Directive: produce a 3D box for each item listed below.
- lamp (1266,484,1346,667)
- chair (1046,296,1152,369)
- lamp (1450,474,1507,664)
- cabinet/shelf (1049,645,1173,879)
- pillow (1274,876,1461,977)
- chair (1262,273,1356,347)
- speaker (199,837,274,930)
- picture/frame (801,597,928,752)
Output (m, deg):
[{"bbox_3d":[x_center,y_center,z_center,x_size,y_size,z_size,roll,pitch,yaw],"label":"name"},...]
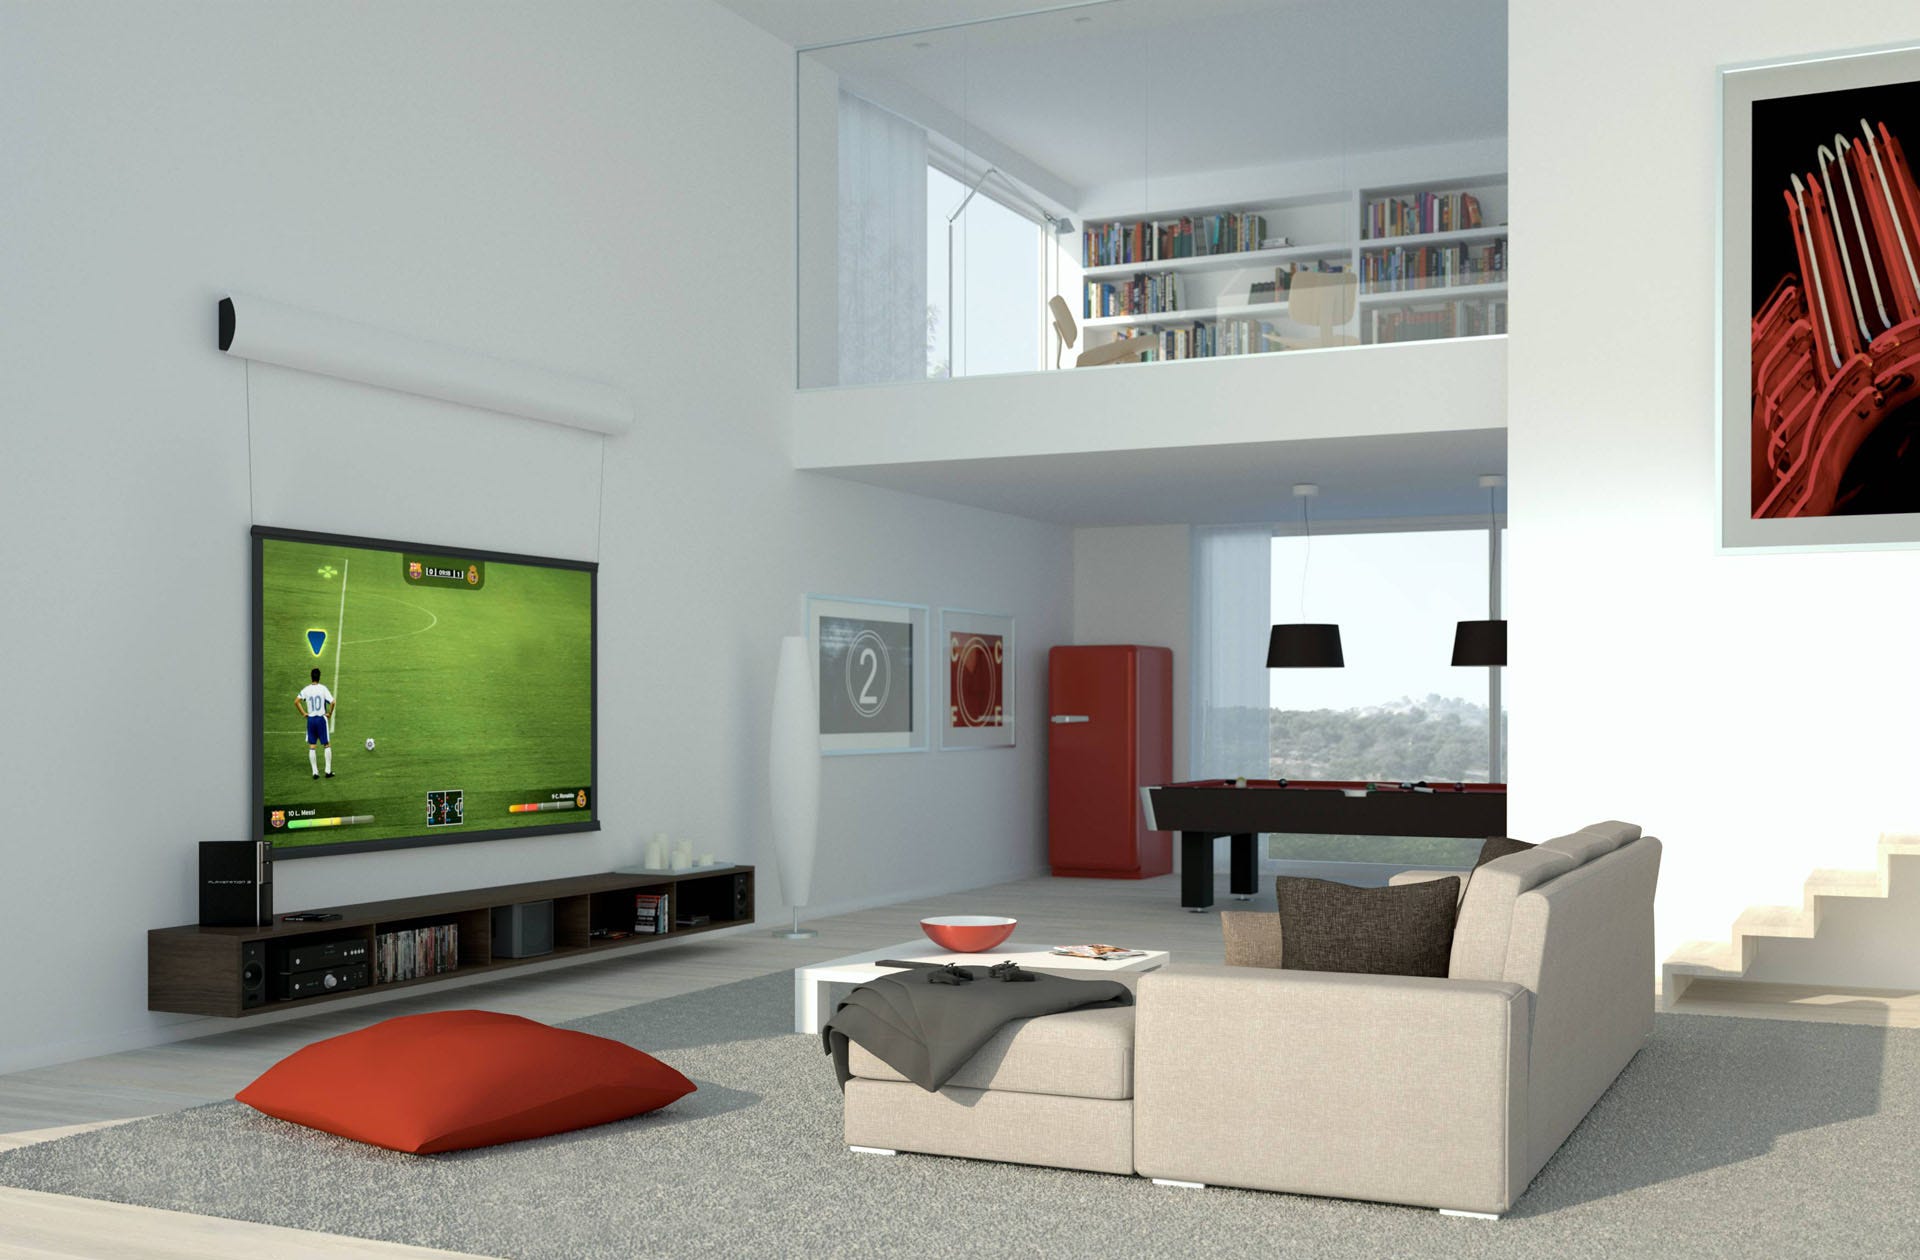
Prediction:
[{"bbox_3d":[2.908,-0.389,11.327,0.540,1.418,1.741,-1,-3,13],"label":"lamp"},{"bbox_3d":[0.949,-2.029,9.185,0.658,0.533,0.350,-1,2,12],"label":"chair"},{"bbox_3d":[4.292,-0.429,11.084,0.378,1.491,2.441,-1,-3,21],"label":"lamp"},{"bbox_3d":[1.401,1.231,12.519,1.162,2.155,0.673,0,-3,2],"label":"cabinet/shelf"},{"bbox_3d":[1.412,1.038,4.619,0.406,0.263,0.136,0,-19,18],"label":"pillow"},{"bbox_3d":[2.331,-2.062,8.905,0.519,0.564,0.495,1,0,29],"label":"chair"},{"bbox_3d":[-3.406,1.191,6.272,0.449,0.396,0.193,-1,-3,25],"label":"speaker"},{"bbox_3d":[-0.784,0.339,10.351,0.062,0.884,1.326,-2,-3,26],"label":"picture/frame"}]
